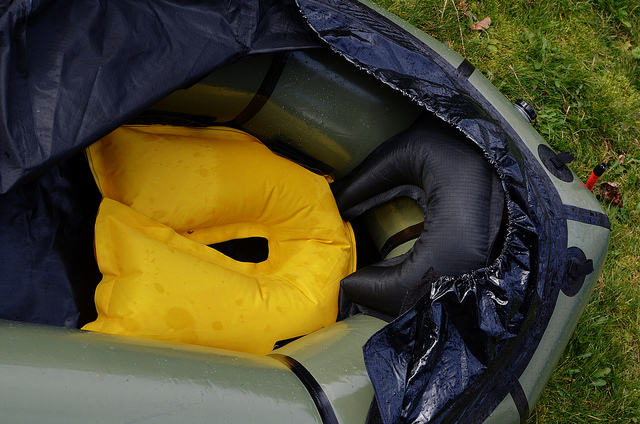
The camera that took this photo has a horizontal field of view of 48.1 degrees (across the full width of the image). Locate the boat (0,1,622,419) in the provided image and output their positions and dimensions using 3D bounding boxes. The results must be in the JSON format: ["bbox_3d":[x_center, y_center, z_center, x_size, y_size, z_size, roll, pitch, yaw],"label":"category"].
[{"bbox_3d":[-0.024,0.038,1.723,1.328,0.623,1.043,12,35,-45],"label":"boat"}]

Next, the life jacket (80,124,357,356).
[{"bbox_3d":[-0.245,0.084,1.854,0.617,0.202,0.599,12,67,-31],"label":"life jacket"}]
